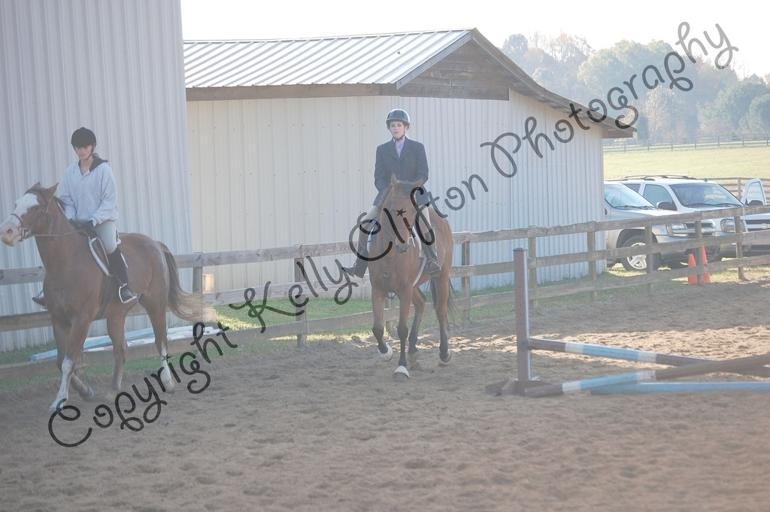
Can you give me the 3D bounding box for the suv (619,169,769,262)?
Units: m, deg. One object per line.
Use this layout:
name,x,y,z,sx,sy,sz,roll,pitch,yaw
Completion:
suv,7.587,-0.996,26.277,1.897,1.740,3.426,-3,2,-39

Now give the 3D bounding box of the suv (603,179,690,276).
suv,6.054,-0.662,25.618,1.468,1.724,2.640,-1,-1,-44

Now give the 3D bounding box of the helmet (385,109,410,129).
helmet,0.245,-2.311,18.064,0.309,0.359,0.418,4,14,10

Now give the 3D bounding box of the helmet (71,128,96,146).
helmet,-4.640,-1.843,16.515,0.229,0.350,0.359,2,25,12

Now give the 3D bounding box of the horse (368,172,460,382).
horse,0.464,0.314,18.055,1.012,3.310,1.784,-1,4,26

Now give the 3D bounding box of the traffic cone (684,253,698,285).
traffic cone,6.860,0.320,23.755,0.212,0.615,1.094,-2,5,15
